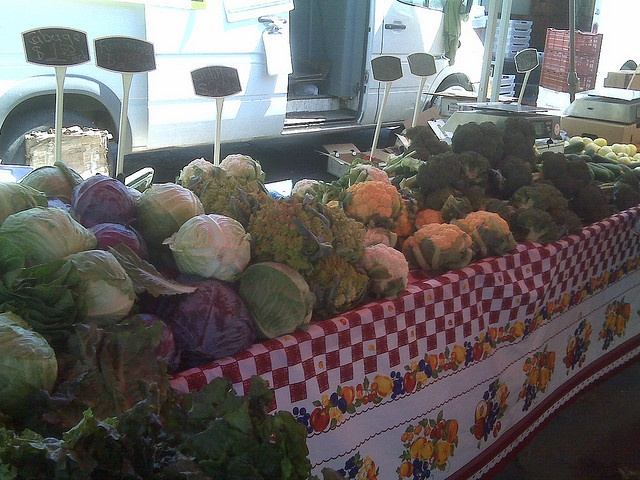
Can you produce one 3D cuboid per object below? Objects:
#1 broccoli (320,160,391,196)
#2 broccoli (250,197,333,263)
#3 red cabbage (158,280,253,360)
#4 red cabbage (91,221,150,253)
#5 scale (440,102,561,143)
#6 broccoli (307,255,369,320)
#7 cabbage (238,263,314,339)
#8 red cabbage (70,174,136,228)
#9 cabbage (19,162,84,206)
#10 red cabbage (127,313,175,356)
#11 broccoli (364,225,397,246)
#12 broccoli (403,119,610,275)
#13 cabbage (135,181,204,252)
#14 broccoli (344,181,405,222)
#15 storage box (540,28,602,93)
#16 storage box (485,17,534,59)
[{"bbox_3d":[0.173,-0.336,2.418,0.223,0.122,0.225,-21,14,-21],"label":"broccoli"},{"bbox_3d":[-0.103,-0.028,1.714,0.222,0.142,0.243,-19,34,-42],"label":"broccoli"},{"bbox_3d":[-0.386,0.273,1.564,0.219,0.162,0.316,-11,22,-33],"label":"red cabbage"},{"bbox_3d":[-0.703,-0.038,1.712,0.194,0.101,0.183,-13,21,-37],"label":"red cabbage"},{"bbox_3d":[1.235,-0.784,3.202,0.614,0.334,0.608,20,27,34],"label":"scale"},{"bbox_3d":[0.059,0.185,1.795,0.152,0.164,0.286,10,22,24],"label":"broccoli"},{"bbox_3d":[-0.155,0.210,1.653,0.250,0.268,0.103,-29,10,4],"label":"cabbage"},{"bbox_3d":[-0.752,-0.178,1.766,0.230,0.182,0.301,-6,20,-28],"label":"red cabbage"},{"bbox_3d":[-1.003,-0.236,1.845,0.203,0.177,0.193,9,22,21],"label":"cabbage"},{"bbox_3d":[-0.507,0.283,1.457,0.108,0.181,0.180,-5,16,-17],"label":"red cabbage"},{"bbox_3d":[0.283,-0.017,2.181,0.087,0.060,0.117,-8,5,-10],"label":"broccoli"},{"bbox_3d":[0.844,-0.233,2.614,0.825,0.433,1.115,-23,35,-27],"label":"broccoli"},{"bbox_3d":[-0.572,-0.128,1.795,0.236,0.236,0.351,-10,19,-33],"label":"cabbage"},{"bbox_3d":[0.248,-0.174,2.268,0.247,0.170,0.266,9,59,26],"label":"broccoli"},{"bbox_3d":[4.014,-2.880,7.605,0.793,1.017,1.008,8,17,27],"label":"storage box"},{"bbox_3d":[4.910,-5.035,11.962,0.926,0.890,0.401,-11,19,-35],"label":"storage box"}]
